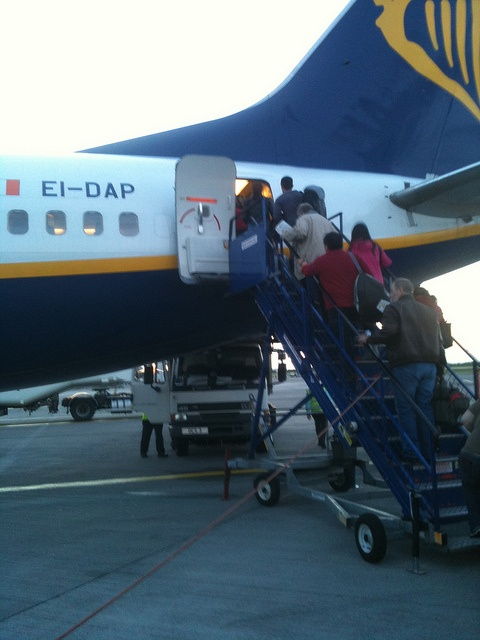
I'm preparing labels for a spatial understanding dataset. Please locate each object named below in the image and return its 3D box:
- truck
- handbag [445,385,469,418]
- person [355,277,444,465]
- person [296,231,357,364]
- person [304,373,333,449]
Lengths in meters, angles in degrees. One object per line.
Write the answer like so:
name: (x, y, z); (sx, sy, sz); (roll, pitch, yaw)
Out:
truck: (-0.741, 1.488, 10.775); (1.989, 1.676, 2.788); (-1, -14, -15)
handbag: (2.025, 0.768, 4.936); (0.234, 0.301, 0.195); (0, 8, -4)
person: (1.547, 0.418, 4.868); (0.852, 1.716, 0.503); (5, -9, -38)
person: (1.000, -0.283, 5.773); (0.571, 1.414, 0.462); (-2, -7, 13)
person: (1.770, 1.999, 11.849); (0.491, 2.028, 0.283); (-11, 29, 3)
